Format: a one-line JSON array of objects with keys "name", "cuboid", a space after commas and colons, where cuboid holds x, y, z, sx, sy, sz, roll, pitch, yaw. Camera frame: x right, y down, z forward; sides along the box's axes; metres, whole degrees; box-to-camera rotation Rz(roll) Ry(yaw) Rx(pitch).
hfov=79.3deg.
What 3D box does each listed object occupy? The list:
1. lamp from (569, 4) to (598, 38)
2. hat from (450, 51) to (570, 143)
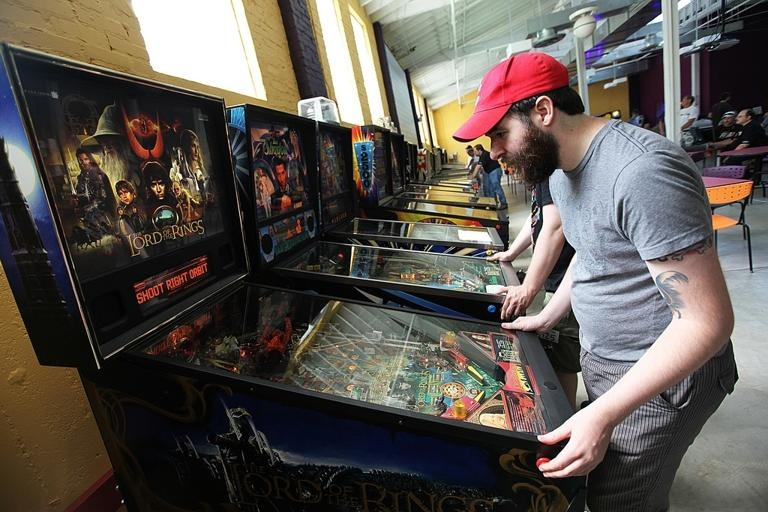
[{"name": "lamp", "cuboid": [2.577, -3.088, 6.112, 0.392, 0.393, 0.369, -3, 27, 9]}, {"name": "hat", "cuboid": [0.450, -0.582, 1.700, 0.485, 0.216, 0.288, -19, 1, 4]}]
